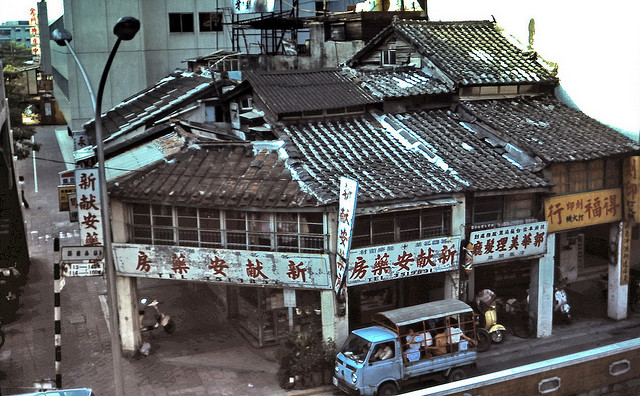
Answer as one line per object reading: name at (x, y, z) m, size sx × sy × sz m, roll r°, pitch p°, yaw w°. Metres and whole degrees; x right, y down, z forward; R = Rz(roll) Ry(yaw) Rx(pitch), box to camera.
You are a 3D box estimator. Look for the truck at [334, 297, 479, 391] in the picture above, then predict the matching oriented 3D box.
truck at (3.746, 6.455, 33.758) m, size 5.859 × 3.422 × 1.305 m, roll -4°, pitch 8°, yaw -18°
